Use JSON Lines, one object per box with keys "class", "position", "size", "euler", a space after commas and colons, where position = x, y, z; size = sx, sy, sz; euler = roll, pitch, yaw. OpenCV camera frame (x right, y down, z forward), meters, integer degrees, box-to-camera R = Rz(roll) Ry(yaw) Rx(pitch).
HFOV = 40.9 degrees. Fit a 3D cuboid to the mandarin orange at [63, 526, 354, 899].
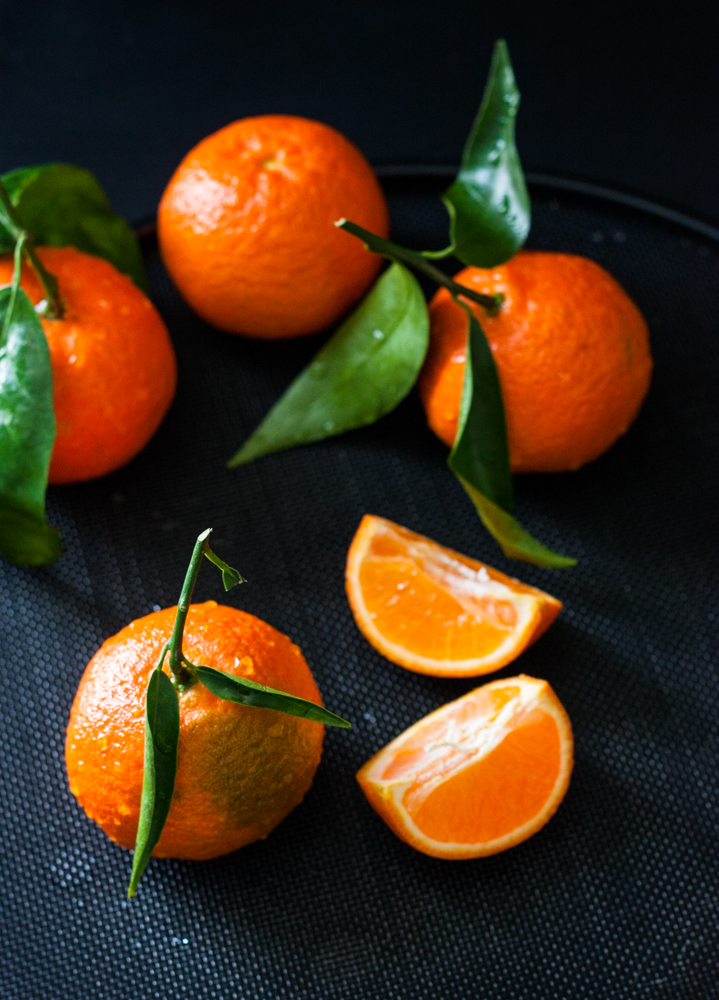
{"class": "mandarin orange", "position": [-0.095, 0.141, 0.602], "size": [0.146, 0.179, 0.151], "euler": [-18, 65, -24]}
